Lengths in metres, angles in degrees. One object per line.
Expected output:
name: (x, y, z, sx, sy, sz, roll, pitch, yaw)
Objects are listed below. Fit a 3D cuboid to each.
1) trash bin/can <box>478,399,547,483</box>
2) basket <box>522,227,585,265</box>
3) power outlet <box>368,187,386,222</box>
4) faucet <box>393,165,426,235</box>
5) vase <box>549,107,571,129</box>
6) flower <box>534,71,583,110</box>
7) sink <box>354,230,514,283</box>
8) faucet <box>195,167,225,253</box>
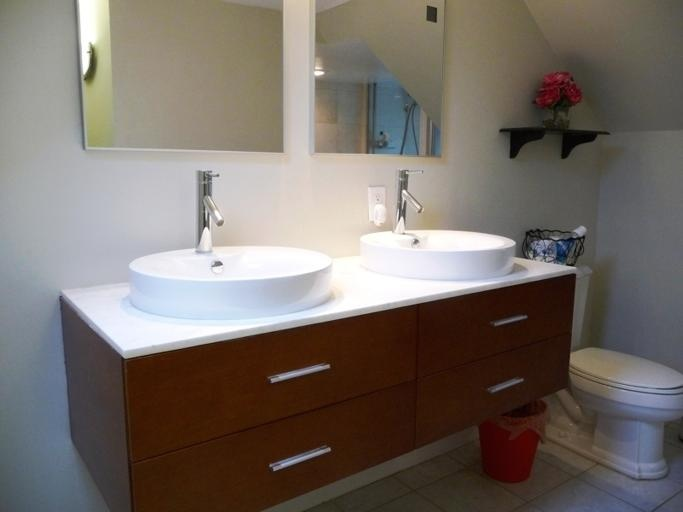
trash bin/can: (0.741, 0.793, 2.442, 0.337, 0.332, 0.354, -5, 6, 14)
basket: (1.054, -0.055, 2.609, 0.253, 0.171, 0.224, 0, 7, -11)
power outlet: (0.162, -0.214, 2.236, 0.099, 0.161, 0.051, -14, 18, -37)
faucet: (0.274, -0.225, 2.204, 0.117, 0.262, 0.345, -1, 14, 9)
vase: (1.059, -0.673, 2.614, 0.109, 0.127, 0.111, 3, 24, 12)
flower: (1.047, -0.786, 2.624, 0.219, 0.226, 0.246, -4, 13, -1)
sink: (0.366, -0.016, 2.083, 0.586, 0.152, 0.443, -7, 14, -14)
faucet: (-0.434, -0.146, 1.741, 0.096, 0.260, 0.320, -7, 14, -12)
